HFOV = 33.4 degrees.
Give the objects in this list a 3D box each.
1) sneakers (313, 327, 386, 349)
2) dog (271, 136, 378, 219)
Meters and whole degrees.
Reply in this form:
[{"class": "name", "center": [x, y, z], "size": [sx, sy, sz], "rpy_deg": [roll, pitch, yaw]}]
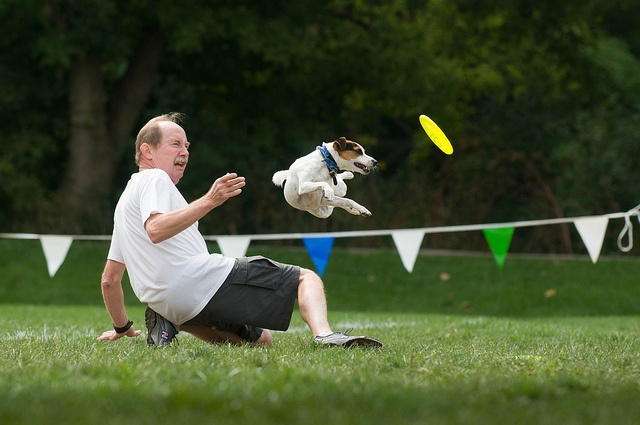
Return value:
[{"class": "sneakers", "center": [0.275, 1.408, 11.648], "size": [0.699, 0.281, 0.254], "rpy_deg": [-4, -29, 5]}, {"class": "dog", "center": [-0.031, -0.333, 12.138], "size": [1.032, 0.796, 1.741], "rpy_deg": [4, -8, -29]}]
